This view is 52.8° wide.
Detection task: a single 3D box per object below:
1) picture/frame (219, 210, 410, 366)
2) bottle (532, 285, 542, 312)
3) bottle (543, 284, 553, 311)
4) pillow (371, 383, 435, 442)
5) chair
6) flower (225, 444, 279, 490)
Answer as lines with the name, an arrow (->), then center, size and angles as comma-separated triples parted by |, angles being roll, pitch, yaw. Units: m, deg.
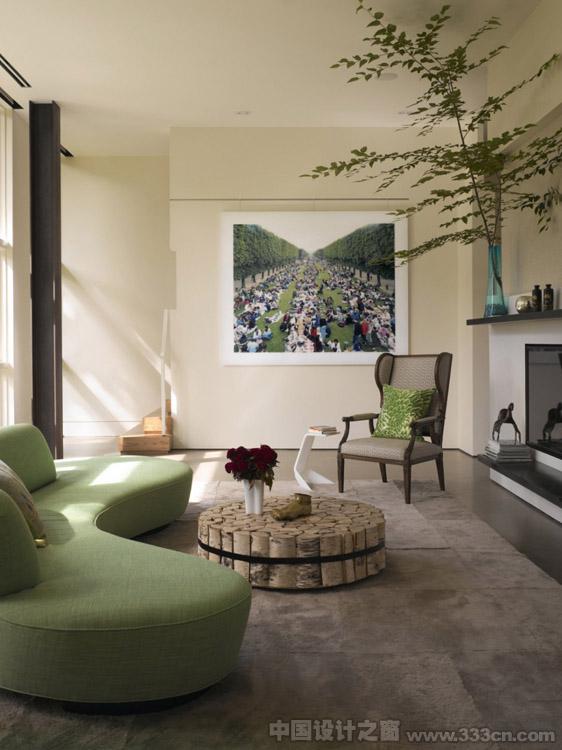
picture/frame -> 0.255, -0.941, 5.909 | 1.609, 1.282, 0.036 | 0, -1, -2
bottle -> 1.659, -0.501, 3.669 | 0.069, 0.153, 0.062 | 1, 0, 34
bottle -> 1.684, -0.496, 3.557 | 0.060, 0.164, 0.214 | 1, 0, 25
pillow -> 0.886, 0.279, 4.199 | 0.115, 0.382, 0.384 | 22, -14, -40
chair -> 0.872, 0.359, 4.195 | 0.769, 1.067, 0.701 | -1, 2, -32
flower -> -0.135, 0.387, 2.558 | 0.207, 0.215, 0.210 | -1, 6, 2
